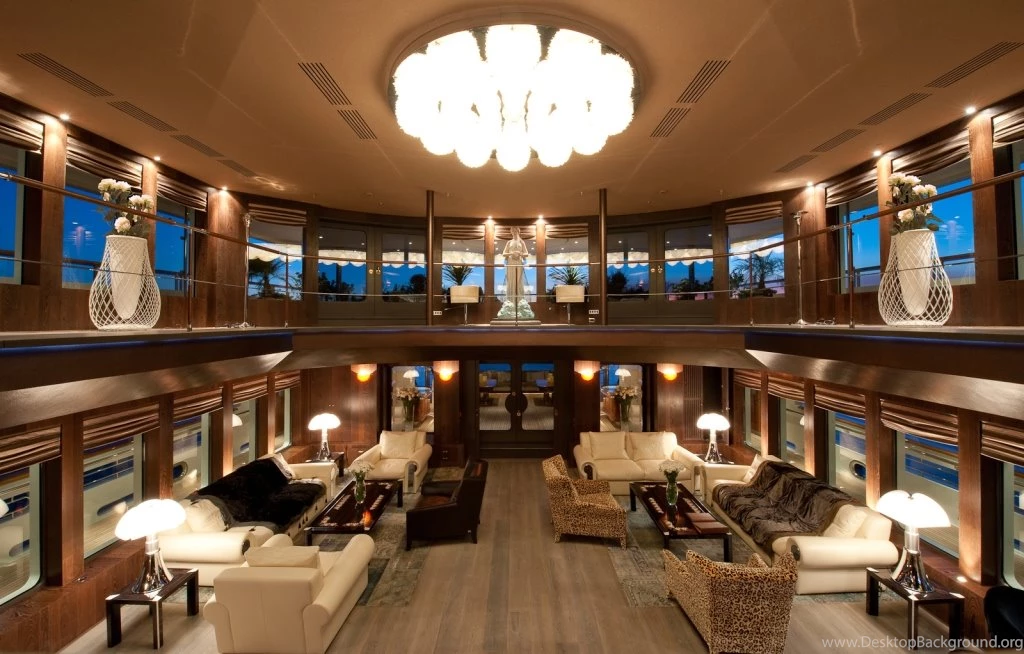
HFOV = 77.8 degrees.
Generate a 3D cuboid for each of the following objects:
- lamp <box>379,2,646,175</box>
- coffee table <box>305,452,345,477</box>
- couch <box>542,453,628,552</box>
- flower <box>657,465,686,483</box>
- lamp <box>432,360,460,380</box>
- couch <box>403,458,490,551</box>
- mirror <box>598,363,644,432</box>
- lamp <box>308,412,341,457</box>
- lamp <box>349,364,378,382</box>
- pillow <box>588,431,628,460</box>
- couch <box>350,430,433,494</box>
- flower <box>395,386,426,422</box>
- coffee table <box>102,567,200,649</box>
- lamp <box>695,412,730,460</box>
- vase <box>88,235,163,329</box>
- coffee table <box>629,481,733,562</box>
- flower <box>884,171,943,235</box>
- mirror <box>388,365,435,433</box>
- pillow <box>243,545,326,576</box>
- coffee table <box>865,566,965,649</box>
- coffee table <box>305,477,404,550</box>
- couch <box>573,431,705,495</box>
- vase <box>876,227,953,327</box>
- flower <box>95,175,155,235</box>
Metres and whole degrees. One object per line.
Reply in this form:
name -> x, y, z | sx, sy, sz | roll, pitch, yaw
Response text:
lamp -> 0.097, -3.814, 9.173 | 2.668, 0.707, 2.658 | 2, 11, 14
coffee table -> -4.105, 3.071, 14.364 | 0.627, 0.478, 0.912 | 1, -2, 0
couch -> 1.350, 3.284, 11.838 | 1.358, 1.311, 1.672 | -2, 0, 1
flower -> 3.195, 2.956, 12.716 | 0.630, 0.258, 0.663 | 2, 2, 2
lamp -> -1.541, 1.012, 15.091 | 0.494, 0.383, 0.503 | 1, -4, 6
couch -> -1.197, 3.301, 12.201 | 1.393, 1.203, 1.984 | -1, -1, 0
mirror -> 2.693, 1.776, 15.607 | 1.098, 1.939, 0.181 | -3, -25, 20
lamp -> -3.973, 2.372, 13.518 | 0.730, 1.020, 0.748 | -13, -21, 16
lamp -> -3.432, 1.047, 14.761 | 0.457, 0.342, 0.460 | -1, -8, -3
pillow -> 2.174, 2.659, 14.221 | 1.041, 0.732, 0.475 | 0, -11, 1
couch -> -2.589, 2.995, 14.069 | 1.585, 1.225, 1.663 | 0, 2, 14
flower -> -2.508, 1.934, 16.095 | 0.769, 0.951, 0.844 | 0, -4, 6
coffee table -> -5.218, 3.975, 9.354 | 0.806, 0.776, 1.604 | 1, 1, 1
lamp -> 4.197, 2.297, 13.302 | 0.571, 0.794, 0.551 | 11, -16, -21
vase -> -5.105, -0.612, 8.386 | 0.757, 1.280, 0.648 | -3, 3, -34
coffee table -> 3.006, 3.795, 11.328 | 0.889, 0.662, 2.188 | 0, 2, -4
flower -> 5.556, -1.934, 8.846 | 0.631, 0.916, 0.533 | 7, 10, 14
mirror -> -2.470, 1.810, 16.204 | 1.278, 1.794, 1.299 | -7, -11, 34
pillow -> -3.254, 3.363, 9.099 | 0.532, 0.351, 0.511 | 1, 0, 0
coffee table -> 5.933, 3.952, 9.485 | 0.810, 0.915, 1.495 | 0, -3, 1
coffee table -> -2.992, 3.935, 12.070 | 1.085, 0.559, 2.331 | 27, -38, -25
couch -> 2.707, 3.019, 14.029 | 2.672, 1.243, 1.600 | 0, 2, -3
vase -> 5.271, -0.679, 8.351 | 0.776, 1.243, 0.357 | 0, 3, 32
flower -> -5.519, -1.716, 8.831 | 0.518, 0.711, 0.459 | -16, -12, 10
